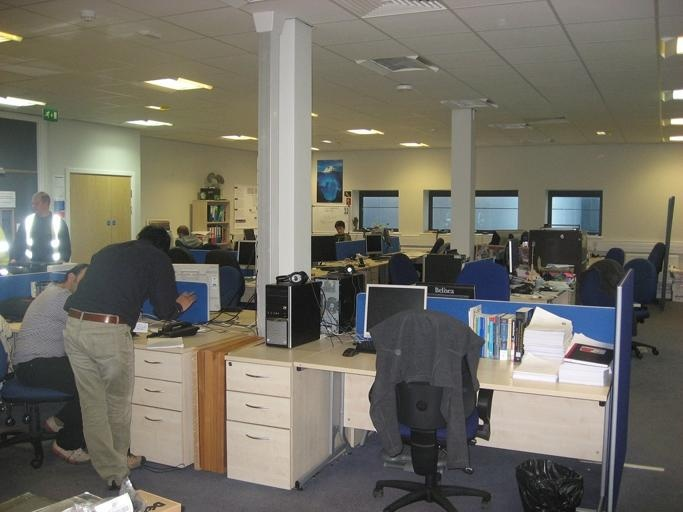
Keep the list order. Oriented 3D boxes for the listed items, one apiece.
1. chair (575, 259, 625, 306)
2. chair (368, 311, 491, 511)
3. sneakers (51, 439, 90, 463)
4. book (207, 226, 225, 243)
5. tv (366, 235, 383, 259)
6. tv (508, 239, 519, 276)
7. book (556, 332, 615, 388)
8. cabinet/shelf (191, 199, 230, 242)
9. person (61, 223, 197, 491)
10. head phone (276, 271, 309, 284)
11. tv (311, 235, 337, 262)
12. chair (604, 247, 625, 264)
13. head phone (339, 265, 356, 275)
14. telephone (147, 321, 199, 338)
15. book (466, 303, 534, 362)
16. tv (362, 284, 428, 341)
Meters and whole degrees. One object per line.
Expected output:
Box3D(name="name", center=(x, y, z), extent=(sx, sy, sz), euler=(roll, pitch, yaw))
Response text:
Box3D(name="chair", center=(3.079, 0.327, 6.606), extent=(0.432, 0.516, 0.680), euler=(4, 9, 29))
Box3D(name="chair", center=(0.580, 1.093, 3.838), extent=(0.754, 1.485, 0.449), euler=(2, 8, 15))
Box3D(name="sneakers", center=(-2.268, 1.625, 4.631), extent=(0.397, 0.185, 0.149), euler=(4, 5, 8))
Box3D(name="book", center=(-2.975, -0.514, 13.265), extent=(0.342, 0.473, 0.483), euler=(0, 3, 13))
Box3D(name="tv", center=(0.602, -0.158, 10.308), extent=(0.415, 0.481, 0.174), euler=(2, -5, -31))
Box3D(name="tv", center=(2.237, 0.026, 7.244), extent=(0.068, 0.503, 0.463), euler=(-1, -4, 22))
Box3D(name="book", center=(1.731, 0.735, 3.931), extent=(0.335, 0.219, 0.542), euler=(4, 8, 25))
Box3D(name="cabinet/shelf", center=(-2.888, -0.885, 13.299), extent=(0.496, 0.879, 0.303), euler=(-12, 2, -23))
Box3D(name="person", center=(-1.644, 0.764, 4.200), extent=(0.779, 1.935, 0.428), euler=(-4, 9, -28))
Box3D(name="head phone", center=(-0.397, 0.187, 4.539), extent=(0.158, 0.070, 0.126), euler=(-1, 3, 5))
Box3D(name="tv", center=(-0.272, -0.114, 8.875), extent=(0.420, 0.393, 0.097), euler=(-4, 6, -38))
Box3D(name="chair", center=(4.726, -0.012, 9.588), extent=(0.188, 0.363, 0.254), euler=(10, 6, -46))
Box3D(name="head phone", center=(0.051, 0.133, 5.250), extent=(0.082, 0.074, 0.107), euler=(-2, -2, 44))
Box3D(name="telephone", center=(-1.379, 0.636, 4.781), extent=(0.172, 0.060, 0.247), euler=(-2, 2, 37))
Box3D(name="book", center=(1.222, 0.535, 4.438), extent=(0.605, 0.603, 0.371), euler=(1, 0, 28))
Box3D(name="tv", center=(0.410, 0.420, 4.165), extent=(0.444, 0.381, 0.035), euler=(1, -5, 14))
